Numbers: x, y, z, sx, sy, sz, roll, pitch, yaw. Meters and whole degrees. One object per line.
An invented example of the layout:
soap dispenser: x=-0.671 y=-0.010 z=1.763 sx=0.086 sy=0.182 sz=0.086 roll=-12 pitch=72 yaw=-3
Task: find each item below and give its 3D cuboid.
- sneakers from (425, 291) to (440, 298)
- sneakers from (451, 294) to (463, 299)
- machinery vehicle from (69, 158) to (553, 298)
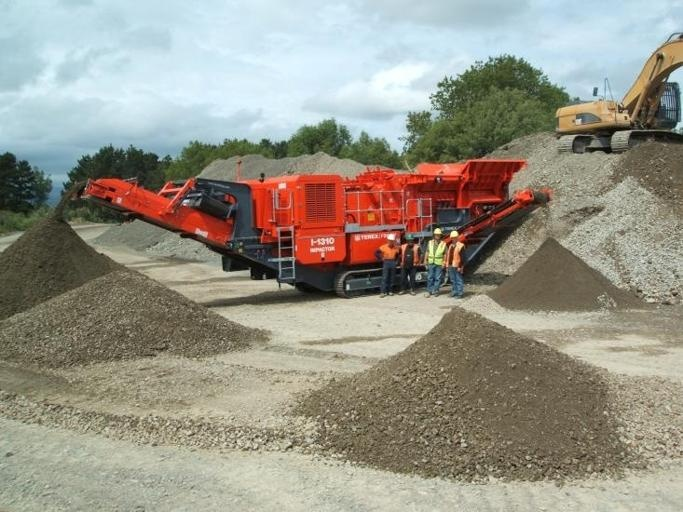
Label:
sneakers: x=2.344 y=1.021 z=15.882 sx=0.447 sy=0.152 sz=0.128 roll=-9 pitch=-1 yaw=9
sneakers: x=2.954 y=1.030 z=15.430 sx=0.107 sy=0.096 sz=0.287 roll=1 pitch=-5 yaw=28
machinery vehicle: x=-0.043 y=-0.910 z=17.195 sx=14.868 sy=2.942 sz=3.667 roll=-4 pitch=9 yaw=-36
